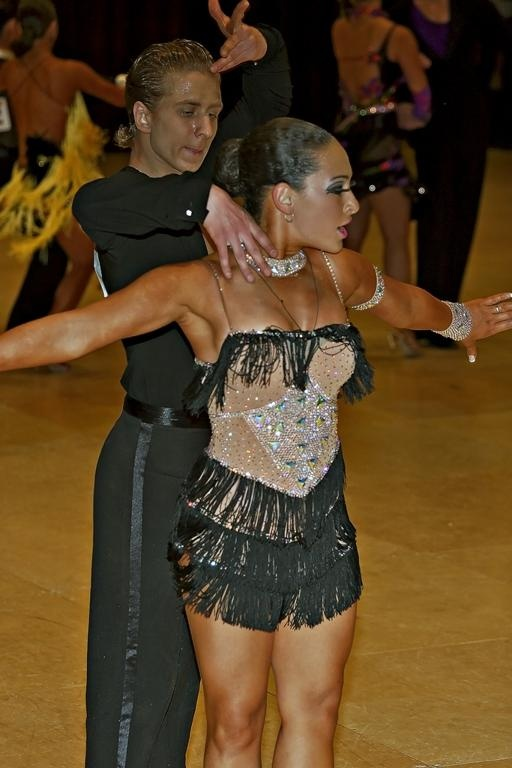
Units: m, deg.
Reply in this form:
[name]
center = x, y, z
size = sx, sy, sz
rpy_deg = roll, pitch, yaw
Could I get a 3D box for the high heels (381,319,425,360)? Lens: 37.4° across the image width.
[high heels]
center = 1.189, -0.359, 6.284
size = 0.147, 0.162, 0.406
rpy_deg = -13, 23, -28
